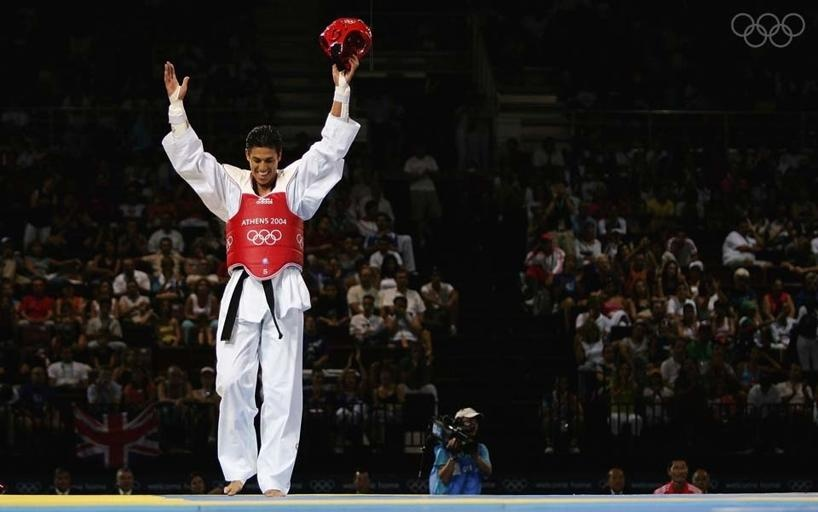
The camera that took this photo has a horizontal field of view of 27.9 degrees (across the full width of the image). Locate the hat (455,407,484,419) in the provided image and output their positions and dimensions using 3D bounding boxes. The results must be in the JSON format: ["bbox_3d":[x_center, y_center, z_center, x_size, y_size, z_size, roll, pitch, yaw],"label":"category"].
[{"bbox_3d":[0.940,2.668,27.665,0.349,0.120,0.231,-10,-9,27],"label":"hat"}]
